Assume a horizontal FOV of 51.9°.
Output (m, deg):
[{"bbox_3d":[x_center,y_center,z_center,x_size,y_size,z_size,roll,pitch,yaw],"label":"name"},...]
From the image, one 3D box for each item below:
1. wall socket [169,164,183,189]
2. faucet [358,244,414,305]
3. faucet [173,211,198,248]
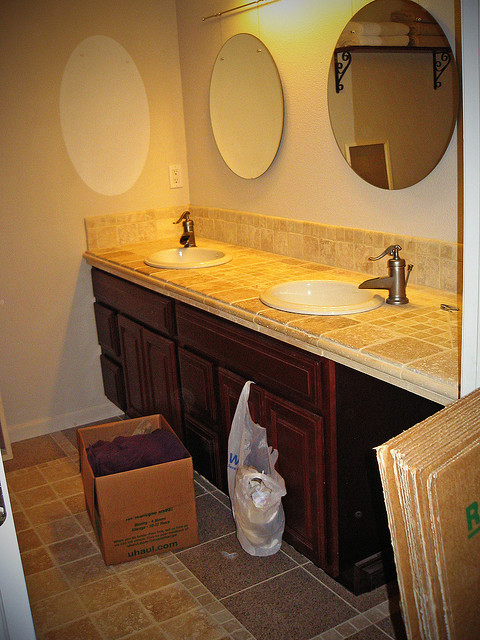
[{"bbox_3d":[-0.411,-0.908,3.113,0.102,0.217,0.019,-11,17,-39],"label":"wall socket"},{"bbox_3d":[0.480,-0.147,1.650,0.160,0.195,0.085,1,11,20],"label":"faucet"},{"bbox_3d":[-0.313,-0.533,2.905,0.111,0.208,0.410,-3,11,-5],"label":"faucet"}]
